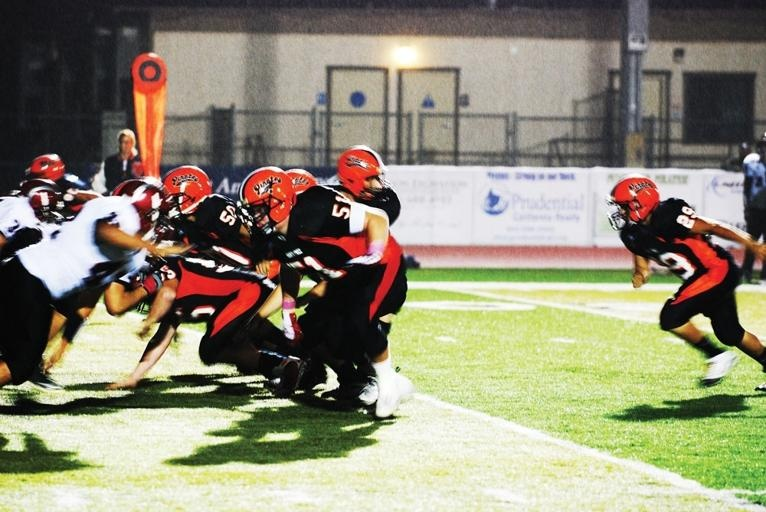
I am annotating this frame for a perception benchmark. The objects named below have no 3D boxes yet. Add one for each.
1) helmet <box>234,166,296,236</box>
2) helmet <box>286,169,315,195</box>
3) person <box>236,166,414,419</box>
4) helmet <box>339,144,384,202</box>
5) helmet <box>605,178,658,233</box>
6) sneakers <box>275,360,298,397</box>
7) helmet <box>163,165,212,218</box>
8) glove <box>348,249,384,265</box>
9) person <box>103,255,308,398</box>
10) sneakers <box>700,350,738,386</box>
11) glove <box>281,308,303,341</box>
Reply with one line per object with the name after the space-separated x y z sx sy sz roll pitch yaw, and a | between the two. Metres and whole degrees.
-0.985 -0.492 9.672 0.512 0.520 0.413 -9 -1 -5 | helmet
-0.752 -0.669 9.901 0.259 0.164 0.234 8 14 -34 | helmet
-0.430 0.305 9.401 1.398 1.986 0.663 1 10 7 | person
-0.204 -0.734 9.634 0.468 0.404 0.368 11 13 2 | helmet
2.419 -0.525 10.475 0.473 0.503 0.475 -18 12 -29 | helmet
-0.834 1.031 9.650 0.137 0.374 0.157 16 5 0 | sneakers
-1.864 -0.620 10.184 0.506 0.432 0.375 -8 19 -13 | helmet
-0.148 0.014 9.181 0.192 0.049 0.115 -11 -1 28 | glove
-1.637 0.570 9.960 1.787 1.127 0.788 3 -7 0 | person
3.114 1.010 10.043 0.135 0.317 0.108 32 22 -33 | sneakers
-0.810 0.631 9.654 0.195 0.323 0.220 -8 -4 18 | glove
